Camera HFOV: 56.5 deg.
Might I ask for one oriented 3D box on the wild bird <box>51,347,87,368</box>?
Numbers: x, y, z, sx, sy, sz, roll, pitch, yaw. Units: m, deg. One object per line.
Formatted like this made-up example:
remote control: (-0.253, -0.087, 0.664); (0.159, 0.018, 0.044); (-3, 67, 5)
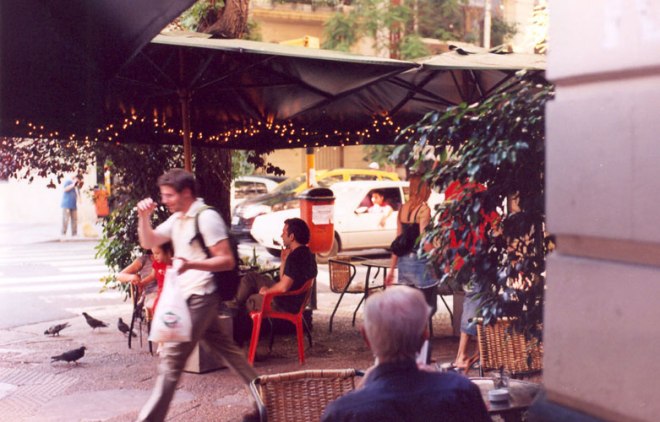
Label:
wild bird: (-3.242, 1.790, 7.570); (0.395, 0.227, 0.398); (-1, 4, -17)

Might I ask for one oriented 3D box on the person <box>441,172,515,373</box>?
person: (1.582, 0.650, 6.653); (0.471, 2.104, 0.503); (1, 1, 31)

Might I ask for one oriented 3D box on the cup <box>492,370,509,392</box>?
cup: (1.313, 1.314, 4.716); (0.123, 0.147, 0.118); (-3, -2, 0)

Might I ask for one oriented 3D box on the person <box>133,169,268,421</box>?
person: (-1.220, 0.700, 5.469); (1.012, 2.143, 0.656); (-1, 4, -20)

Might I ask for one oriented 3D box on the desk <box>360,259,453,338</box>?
desk: (1.211, 1.126, 8.624); (1.149, 1.420, 1.169); (-1, -4, -8)

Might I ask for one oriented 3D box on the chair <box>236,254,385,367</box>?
chair: (-0.212, 1.149, 7.970); (1.377, 2.110, 1.244); (3, -2, 11)

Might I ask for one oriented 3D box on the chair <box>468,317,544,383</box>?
chair: (1.604, 1.235, 5.422); (0.555, 0.514, 0.628); (0, -8, -2)

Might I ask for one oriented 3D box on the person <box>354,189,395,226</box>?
person: (1.160, 0.084, 15.139); (0.645, 1.236, 0.835); (-4, 14, -6)

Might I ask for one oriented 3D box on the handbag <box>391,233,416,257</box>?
handbag: (0.856, 0.417, 7.268); (0.194, 0.159, 0.274); (3, -3, -22)
